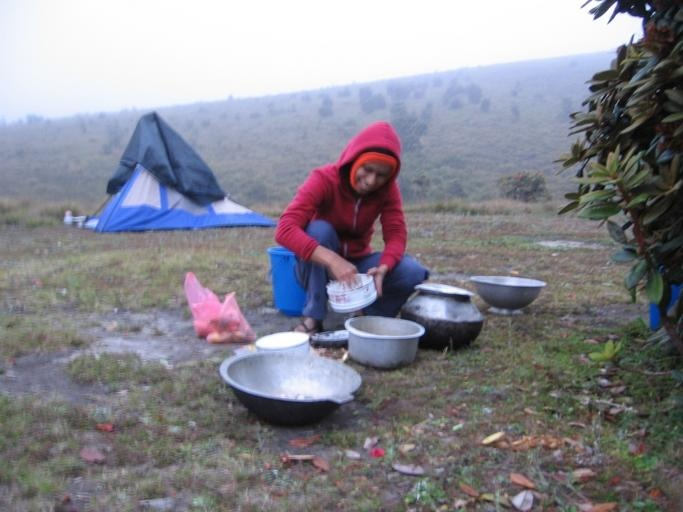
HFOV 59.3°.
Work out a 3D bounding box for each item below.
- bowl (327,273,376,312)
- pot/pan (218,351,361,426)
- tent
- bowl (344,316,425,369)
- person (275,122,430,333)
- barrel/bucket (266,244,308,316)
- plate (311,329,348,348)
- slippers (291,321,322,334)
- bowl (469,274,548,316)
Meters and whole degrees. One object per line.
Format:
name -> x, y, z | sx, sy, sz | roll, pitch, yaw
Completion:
bowl -> 0.053, 0.244, 4.259 | 0.274, 0.287, 0.377 | 7, 6, -12
pot/pan -> -0.291, 0.765, 3.509 | 0.799, 0.303, 0.551 | 3, 14, 2
tent -> -3.283, -1.785, 11.789 | 3.466, 2.334, 3.538 | -3, 12, -39
bowl -> 0.312, 0.550, 4.216 | 0.478, 0.342, 0.792 | 2, 2, 14
person -> 0.112, -0.241, 4.456 | 1.135, 1.506, 0.660 | -9, 17, -35
barrel/bucket -> -0.468, 0.204, 5.076 | 0.351, 0.574, 0.411 | -1, 11, -18
plate -> -0.090, 0.614, 4.453 | 0.218, 0.059, 0.137 | -7, 8, 9
slippers -> -0.258, 0.535, 4.531 | 0.093, 0.070, 0.186 | -3, -10, 37
bowl -> 1.399, 0.315, 5.059 | 0.561, 0.351, 0.388 | 7, 15, 18
